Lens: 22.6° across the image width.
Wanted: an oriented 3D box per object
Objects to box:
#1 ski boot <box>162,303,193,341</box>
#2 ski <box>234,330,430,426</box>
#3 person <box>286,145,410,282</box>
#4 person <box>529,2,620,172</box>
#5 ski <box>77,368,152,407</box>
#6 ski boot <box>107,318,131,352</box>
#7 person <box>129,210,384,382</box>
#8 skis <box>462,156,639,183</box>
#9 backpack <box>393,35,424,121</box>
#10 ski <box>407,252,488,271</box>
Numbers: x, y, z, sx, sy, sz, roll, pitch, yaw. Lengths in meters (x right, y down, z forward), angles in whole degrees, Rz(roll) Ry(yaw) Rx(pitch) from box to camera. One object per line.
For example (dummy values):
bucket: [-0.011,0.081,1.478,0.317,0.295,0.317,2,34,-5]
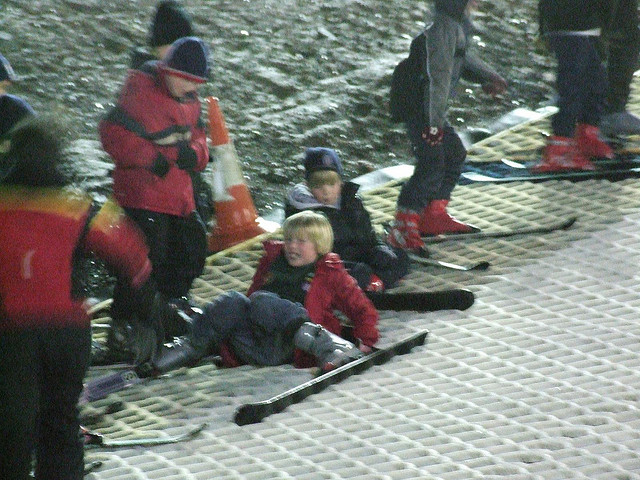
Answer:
ski boot: [-0.820,0.475,9.095,0.170,0.196,0.081,0,-13,9]
ski: [0.076,0.762,8.774,1.267,0.260,0.089,-12,18,-32]
person: [0.125,-0.094,9.712,0.755,0.868,0.615,11,20,26]
person: [1.832,-1.203,11.509,0.617,1.146,1.737,-1,15,10]
ski: [-1.167,0.806,8.830,0.432,0.132,0.084,-12,18,-32]
ski boot: [-1.114,0.534,8.845,0.099,0.107,0.348,18,4,-6]
person: [-0.263,0.325,8.944,1.365,0.680,0.884,-6,16,-38]
skis: [1.616,-0.479,10.936,1.558,0.078,0.160,-2,49,18]
backpack: [0.549,-1.021,10.063,0.087,0.567,0.299,-14,19,-32]
ski: [0.783,0.146,9.896,0.522,0.047,0.099,8,18,36]
